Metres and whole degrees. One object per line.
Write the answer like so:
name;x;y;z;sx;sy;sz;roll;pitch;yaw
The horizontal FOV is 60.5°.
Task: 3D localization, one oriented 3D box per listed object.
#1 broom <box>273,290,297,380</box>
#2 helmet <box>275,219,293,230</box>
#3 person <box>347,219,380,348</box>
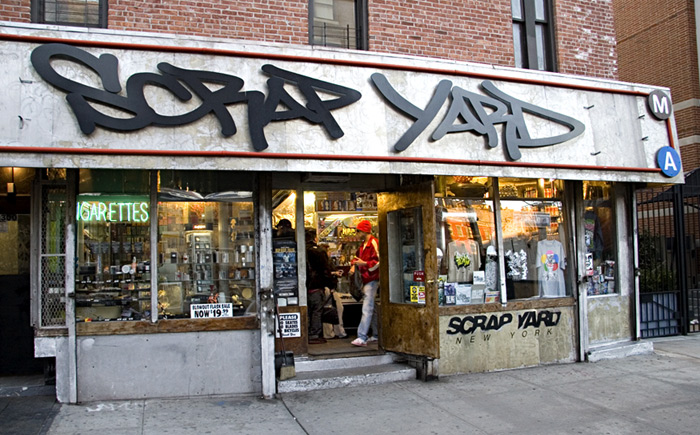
broom;-1.274;2.185;11.448;0.358;1.636;0.715;-1;13;-5
helmet;-1.363;0.131;12.419;0.349;0.187;0.309;-2;13;-11
person;0.420;1.451;13.421;1.043;2.310;0.714;0;-1;-18
